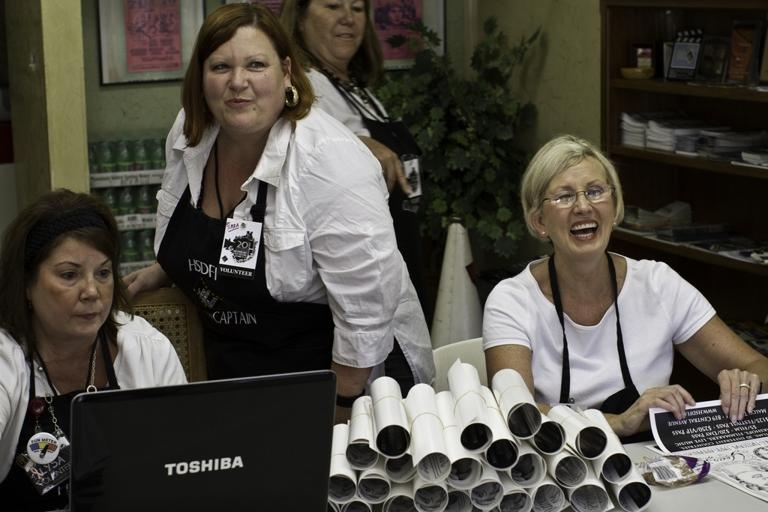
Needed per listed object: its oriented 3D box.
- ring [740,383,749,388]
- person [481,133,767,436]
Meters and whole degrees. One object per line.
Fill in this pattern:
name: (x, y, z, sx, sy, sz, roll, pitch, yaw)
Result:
ring: (1.191, 0.431, 1.961, 0.035, 0.011, 0.014, -5, 8, -1)
person: (0.878, -0.027, 2.515, 0.970, 1.290, 1.066, -12, 11, -18)
